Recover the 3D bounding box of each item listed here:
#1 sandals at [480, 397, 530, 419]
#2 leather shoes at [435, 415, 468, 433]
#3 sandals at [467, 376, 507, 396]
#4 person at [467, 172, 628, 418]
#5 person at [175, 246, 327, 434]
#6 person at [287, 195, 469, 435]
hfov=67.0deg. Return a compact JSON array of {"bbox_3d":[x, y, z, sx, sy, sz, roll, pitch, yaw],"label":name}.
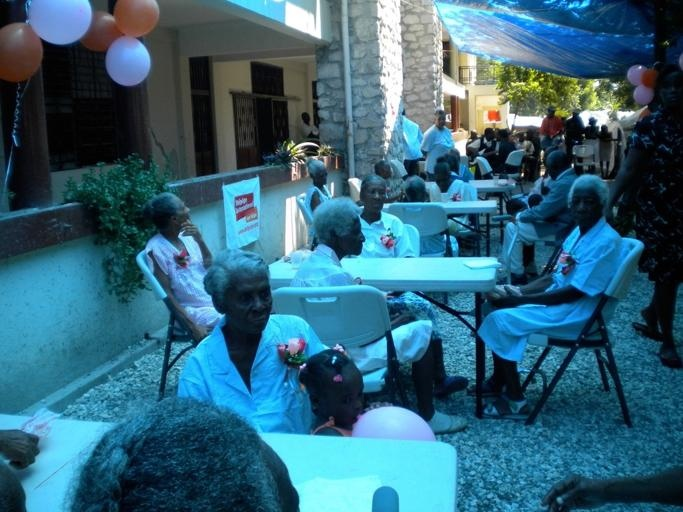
[{"bbox_3d":[1.096,1.030,3.442,0.247,0.118,0.137,1,2,14],"label":"sandals"},{"bbox_3d":[0.689,1.063,3.270,0.196,0.086,0.109,-10,21,2],"label":"leather shoes"},{"bbox_3d":[1.044,0.932,3.692,0.245,0.116,0.112,1,7,7],"label":"sandals"},{"bbox_3d":[1.399,0.289,3.536,0.795,1.660,0.695,8,-1,10],"label":"person"},{"bbox_3d":[-0.416,0.395,2.447,0.620,0.979,0.471,-26,28,-35],"label":"person"},{"bbox_3d":[0.251,0.403,3.333,1.095,1.546,0.593,-6,10,-12],"label":"person"}]
